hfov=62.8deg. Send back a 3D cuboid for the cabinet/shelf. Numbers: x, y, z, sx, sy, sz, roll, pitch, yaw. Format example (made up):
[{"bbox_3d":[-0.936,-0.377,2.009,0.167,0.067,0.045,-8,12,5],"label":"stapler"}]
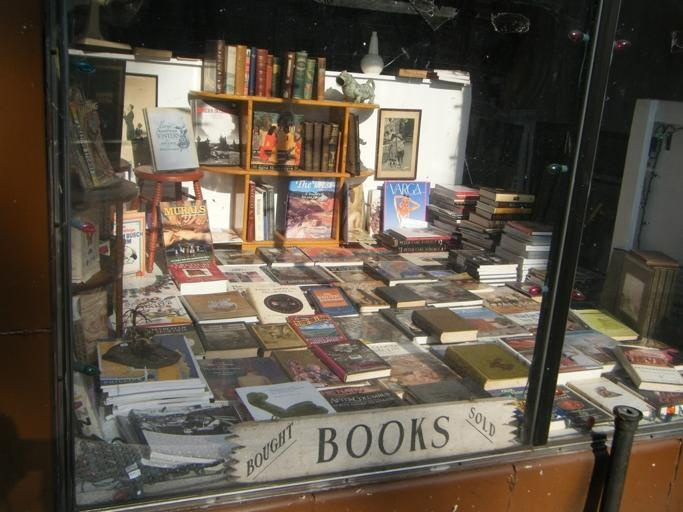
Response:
[{"bbox_3d":[-0.332,-0.484,3.201,1.216,0.741,0.346,-2,10,-14],"label":"cabinet/shelf"}]
